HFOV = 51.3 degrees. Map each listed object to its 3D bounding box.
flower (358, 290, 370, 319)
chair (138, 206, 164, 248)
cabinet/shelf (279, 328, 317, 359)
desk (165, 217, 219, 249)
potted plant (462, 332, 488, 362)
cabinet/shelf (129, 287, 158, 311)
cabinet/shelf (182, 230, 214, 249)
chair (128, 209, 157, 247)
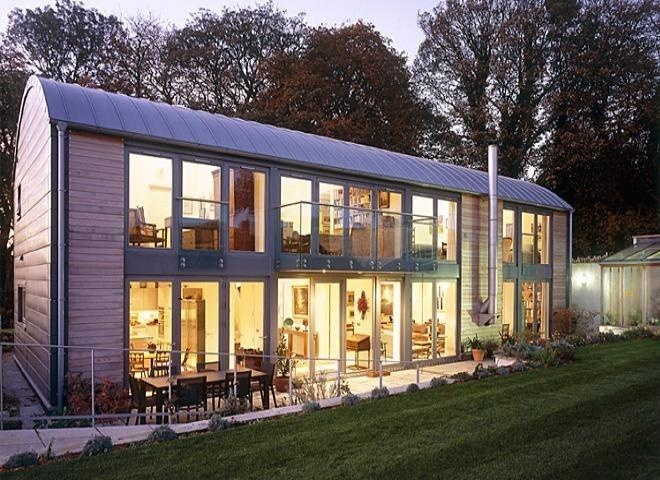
[{"bbox_3d":[1.114,2.159,23.252,0.396,0.937,0.097,2,12,3],"label":"flower"},{"bbox_3d":[-5.078,-0.360,19.676,0.737,1.223,0.776,1,4,20],"label":"chair"},{"bbox_3d":[-1.001,3.229,21.927,0.798,0.886,0.317,3,7,41],"label":"cabinet/shelf"},{"bbox_3d":[-4.068,-0.084,20.433,1.313,1.151,0.797,0,-17,-20],"label":"desk"},{"bbox_3d":[5.443,3.944,25.648,0.792,1.139,0.819,-4,-6,40],"label":"potted plant"},{"bbox_3d":[-5.275,1.638,19.354,0.511,0.535,0.172,3,-7,-27],"label":"cabinet/shelf"},{"bbox_3d":[-3.868,-0.071,20.137,0.941,0.610,0.139,-6,14,-29],"label":"cabinet/shelf"},{"bbox_3d":[-5.402,-0.382,19.661,0.602,1.269,0.747,2,-1,33],"label":"chair"}]
